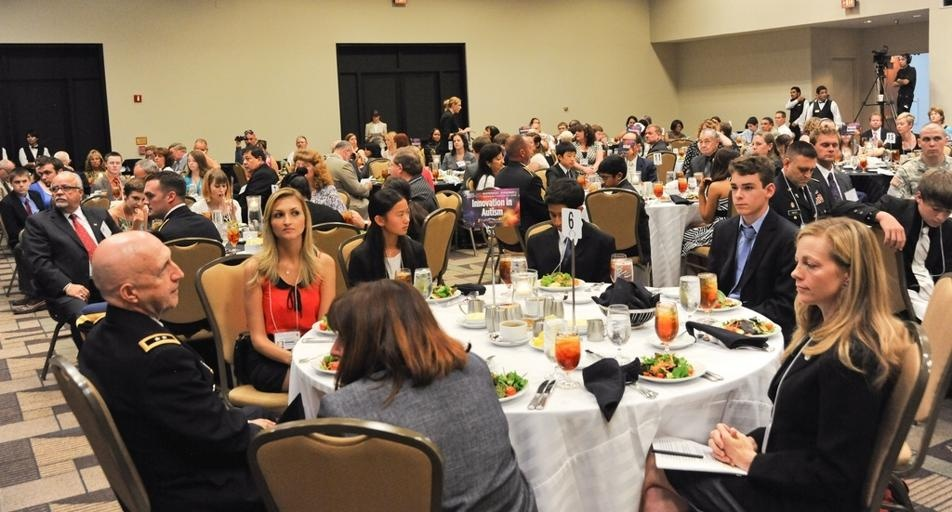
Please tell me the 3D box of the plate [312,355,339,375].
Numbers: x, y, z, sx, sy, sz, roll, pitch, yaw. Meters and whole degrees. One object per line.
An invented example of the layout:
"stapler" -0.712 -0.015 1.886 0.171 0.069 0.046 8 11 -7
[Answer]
"plate" -0.893 0.637 3.743 0.154 0.041 0.155 13 23 29

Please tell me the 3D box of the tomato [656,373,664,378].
"tomato" 1.034 0.659 3.565 0.048 0.019 0.031 -5 11 2

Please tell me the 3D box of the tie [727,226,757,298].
"tie" 2.030 0.028 4.830 0.160 0.536 0.210 5 15 40

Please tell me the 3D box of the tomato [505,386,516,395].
"tomato" 0.184 0.732 3.486 0.042 0.023 0.041 2 5 4

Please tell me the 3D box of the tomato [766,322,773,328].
"tomato" 1.830 0.427 3.976 0.037 0.013 0.037 1 12 16
